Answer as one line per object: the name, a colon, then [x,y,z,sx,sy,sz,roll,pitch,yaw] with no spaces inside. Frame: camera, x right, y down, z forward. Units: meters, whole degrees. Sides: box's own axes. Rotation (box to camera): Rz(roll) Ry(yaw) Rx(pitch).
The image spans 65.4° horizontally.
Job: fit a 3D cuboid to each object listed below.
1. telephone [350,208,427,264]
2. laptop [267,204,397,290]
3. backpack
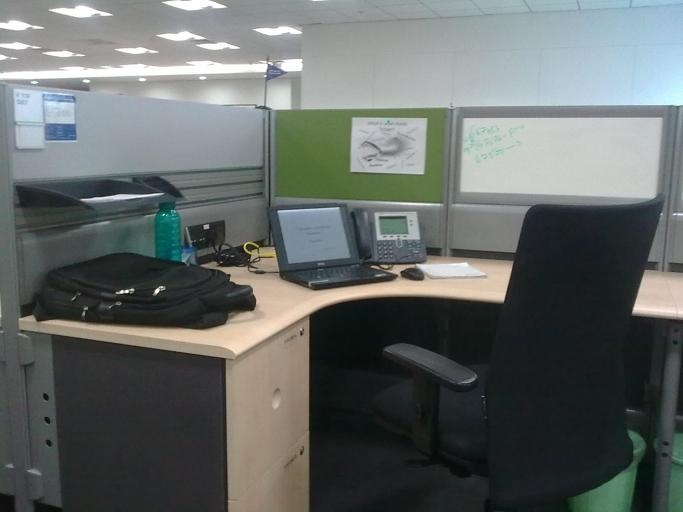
telephone: [0.193,-0.076,2.230,0.327,0.238,0.229,-2,8,-14]
laptop: [-0.030,-0.065,1.958,0.382,0.269,0.354,-5,9,-35]
backpack: [-0.544,0.101,1.469,0.333,0.093,0.289,5,5,7]
